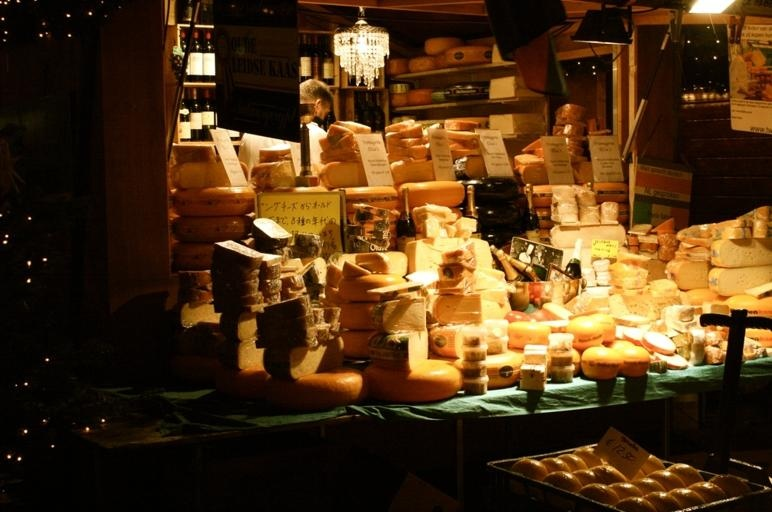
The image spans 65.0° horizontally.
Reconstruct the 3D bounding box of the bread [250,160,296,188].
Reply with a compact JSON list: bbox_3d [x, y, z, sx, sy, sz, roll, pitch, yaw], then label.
[{"bbox_3d":[-0.620,-0.421,3.321,0.182,0.218,0.130,0,89,-42],"label":"bread"}]

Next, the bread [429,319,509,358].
[{"bbox_3d":[0.355,0.355,2.838,0.244,0.206,0.076,6,41,-11],"label":"bread"}]

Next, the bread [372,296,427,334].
[{"bbox_3d":[0.047,0.267,2.761,0.238,0.120,0.132,1,89,-37],"label":"bread"}]

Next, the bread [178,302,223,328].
[{"bbox_3d":[-0.943,0.287,3.002,0.167,0.042,0.137,12,70,-23],"label":"bread"}]

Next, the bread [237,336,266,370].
[{"bbox_3d":[-0.614,0.440,2.757,0.153,0.035,0.121,3,89,-43],"label":"bread"}]

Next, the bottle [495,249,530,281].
[{"bbox_3d":[0.754,0.045,3.629,0.143,0.052,0.223,-22,77,-5],"label":"bottle"}]

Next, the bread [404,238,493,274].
[{"bbox_3d":[0.310,-0.012,3.457,0.489,0.157,0.184,-1,102,-41],"label":"bread"}]

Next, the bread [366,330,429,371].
[{"bbox_3d":[0.057,0.396,2.689,0.208,0.208,0.124,1,87,-30],"label":"bread"}]

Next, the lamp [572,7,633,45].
[{"bbox_3d":[1.636,-1.691,4.538,0.415,0.384,0.216,-7,104,-29],"label":"lamp"}]
